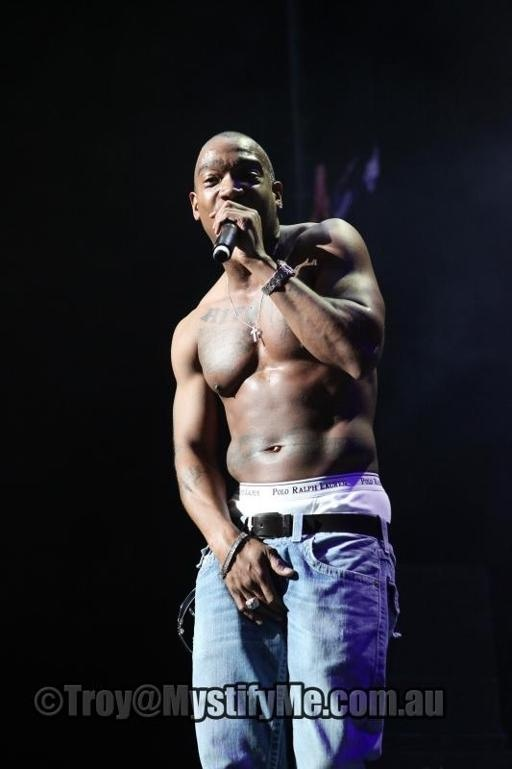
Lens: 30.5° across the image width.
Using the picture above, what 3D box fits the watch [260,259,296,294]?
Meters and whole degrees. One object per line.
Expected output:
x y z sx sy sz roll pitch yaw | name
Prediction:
0.052 -0.232 2.070 0.032 0.070 0.059 34 28 -24 | watch

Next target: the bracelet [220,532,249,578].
-0.047 0.377 2.062 0.021 0.082 0.083 16 22 0 | bracelet

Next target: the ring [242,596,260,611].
-0.011 0.470 2.057 0.026 0.042 0.045 -7 -1 -17 | ring
